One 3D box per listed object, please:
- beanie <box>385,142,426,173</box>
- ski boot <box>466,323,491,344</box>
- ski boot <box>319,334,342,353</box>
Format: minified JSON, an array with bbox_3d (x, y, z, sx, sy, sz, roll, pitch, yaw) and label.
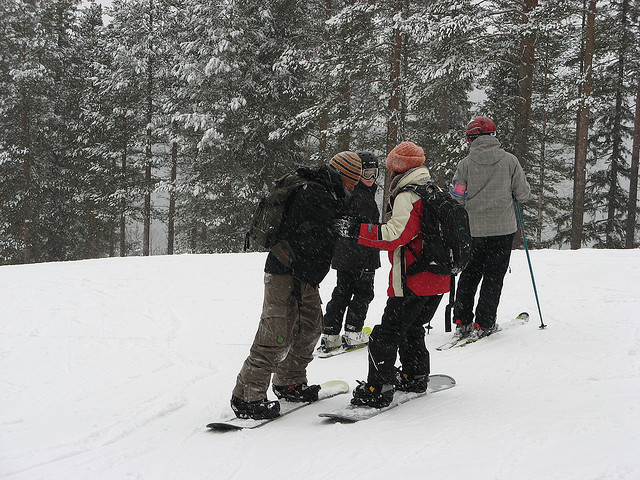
[{"bbox_3d":[1.624,-1.565,14.591,0.616,0.577,0.529,12,21,-2],"label":"beanie"},{"bbox_3d":[3.311,1.998,16.402,0.654,0.324,0.222,-33,1,-15],"label":"ski boot"},{"bbox_3d":[0.217,2.243,16.549,0.301,0.428,0.422,1,-22,-5],"label":"ski boot"}]
